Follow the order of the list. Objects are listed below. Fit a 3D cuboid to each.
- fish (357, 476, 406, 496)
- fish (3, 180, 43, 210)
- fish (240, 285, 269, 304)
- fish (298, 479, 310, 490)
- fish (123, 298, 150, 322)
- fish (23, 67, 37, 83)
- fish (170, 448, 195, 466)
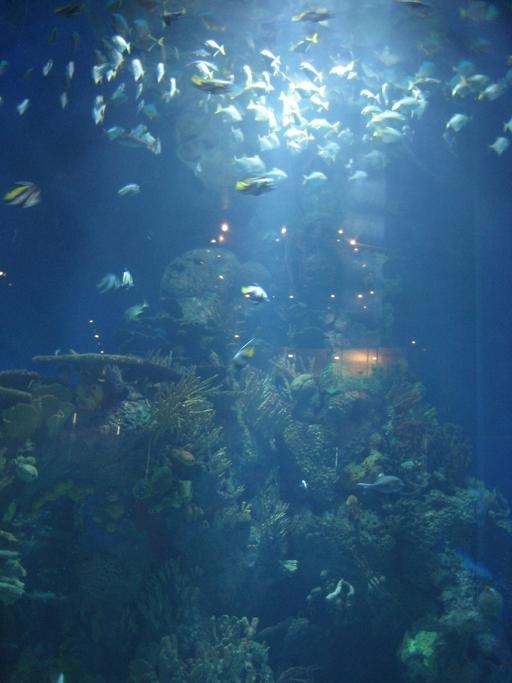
[{"bbox_3d":[1.815,2.081,9.018,0.602,0.346,0.178,-5,-34,3],"label":"fish"},{"bbox_3d":[-2.584,-1.647,7.002,0.303,0.287,0.553,-6,5,-9],"label":"fish"},{"bbox_3d":[-0.025,-0.622,8.500,0.311,0.231,0.529,-5,5,-3],"label":"fish"},{"bbox_3d":[0.742,2.231,9.788,0.109,0.165,0.046,-9,-3,9],"label":"fish"},{"bbox_3d":[-1.989,-0.499,10.343,0.157,0.245,0.554,15,-41,-28],"label":"fish"},{"bbox_3d":[-3.029,-3.576,8.434,0.156,0.163,0.275,-6,5,-20],"label":"fish"},{"bbox_3d":[-0.962,1.577,8.419,0.318,0.273,0.184,-7,5,-21],"label":"fish"}]
